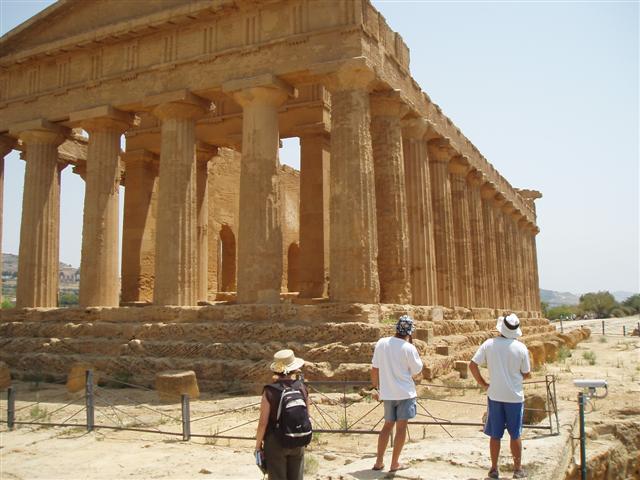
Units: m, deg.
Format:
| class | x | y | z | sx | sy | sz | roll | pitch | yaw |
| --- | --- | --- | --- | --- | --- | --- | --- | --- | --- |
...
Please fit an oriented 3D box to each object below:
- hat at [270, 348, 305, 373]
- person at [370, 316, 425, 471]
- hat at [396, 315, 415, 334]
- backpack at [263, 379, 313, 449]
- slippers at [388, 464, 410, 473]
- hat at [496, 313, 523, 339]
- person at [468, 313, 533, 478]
| class | x | y | z | sx | sy | sz | roll | pitch | yaw |
| --- | --- | --- | --- | --- | --- | --- | --- | --- | --- |
| hat | -0.595 | 2.021 | 13.085 | 0.562 | 0.173 | 0.539 | -4 | 1 | -7 |
| person | 1.363 | 2.707 | 13.797 | 0.882 | 2.643 | 1.047 | 1 | 9 | 6 |
| hat | 1.567 | 1.514 | 14.032 | 0.386 | 0.282 | 0.335 | 1 | 1 | -23 |
| backpack | -0.519 | 2.841 | 12.693 | 0.731 | 1.022 | 0.482 | -1 | 9 | -3 |
| slippers | 1.363 | 3.940 | 13.515 | 0.276 | 0.084 | 0.126 | -13 | 0 | -17 |
| hat | 3.357 | 1.493 | 13.862 | 0.460 | 0.243 | 0.480 | 0 | 38 | -7 |
| person | 3.142 | 2.669 | 13.566 | 0.961 | 2.658 | 1.152 | 2 | 9 | 12 |
